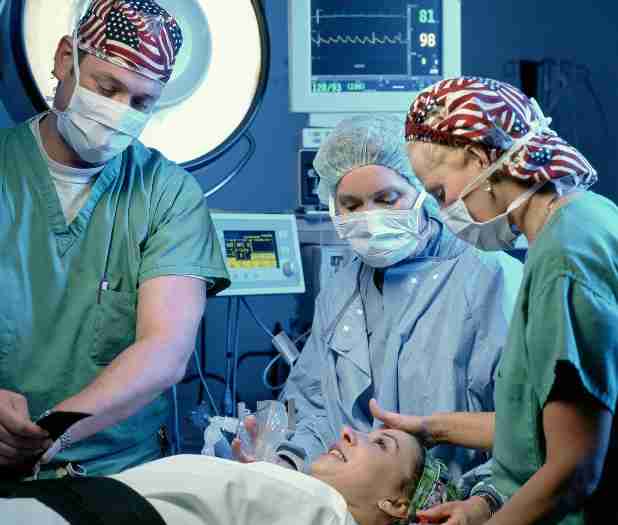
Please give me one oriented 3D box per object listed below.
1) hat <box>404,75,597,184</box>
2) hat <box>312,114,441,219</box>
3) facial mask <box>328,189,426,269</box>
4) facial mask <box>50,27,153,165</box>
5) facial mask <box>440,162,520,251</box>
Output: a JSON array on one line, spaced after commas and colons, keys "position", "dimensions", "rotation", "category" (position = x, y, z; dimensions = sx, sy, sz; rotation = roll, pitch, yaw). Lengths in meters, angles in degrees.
[{"position": [0.442, -0.284, 1.939], "dimensions": [0.446, 0.275, 0.240], "rotation": [27, 22, 24], "category": "hat"}, {"position": [0.204, -0.364, 2.562], "dimensions": [0.291, 0.365, 0.355], "rotation": [-5, 16, -17], "category": "hat"}, {"position": [0.218, -0.095, 2.541], "dimensions": [0.251, 0.279, 0.212], "rotation": [0, 10, -20], "category": "facial mask"}, {"position": [-0.579, -0.425, 2.294], "dimensions": [0.277, 0.251, 0.313], "rotation": [26, 15, -44], "category": "facial mask"}, {"position": [0.424, -0.129, 2.009], "dimensions": [0.115, 0.223, 0.163], "rotation": [-5, 17, -19], "category": "facial mask"}]
